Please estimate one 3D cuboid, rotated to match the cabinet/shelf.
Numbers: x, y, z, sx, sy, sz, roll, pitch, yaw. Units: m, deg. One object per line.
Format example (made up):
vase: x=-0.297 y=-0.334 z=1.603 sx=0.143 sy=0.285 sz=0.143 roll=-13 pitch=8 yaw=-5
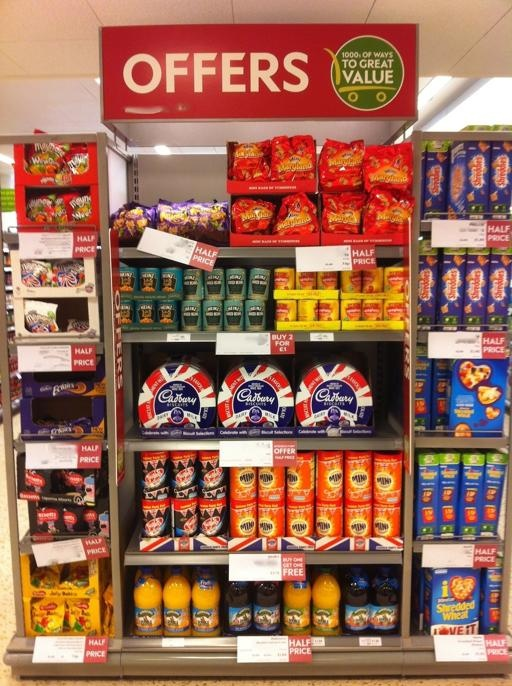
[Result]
cabinet/shelf: x=0.027 y=0.305 z=2.288 sx=2.307 sy=2.122 sz=0.804 roll=0 pitch=3 yaw=-2
